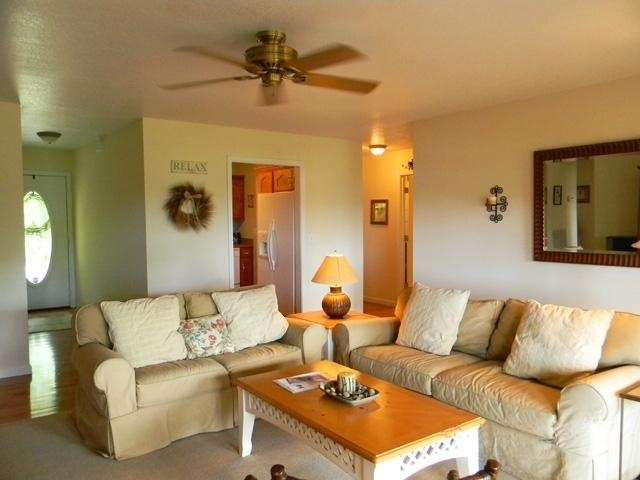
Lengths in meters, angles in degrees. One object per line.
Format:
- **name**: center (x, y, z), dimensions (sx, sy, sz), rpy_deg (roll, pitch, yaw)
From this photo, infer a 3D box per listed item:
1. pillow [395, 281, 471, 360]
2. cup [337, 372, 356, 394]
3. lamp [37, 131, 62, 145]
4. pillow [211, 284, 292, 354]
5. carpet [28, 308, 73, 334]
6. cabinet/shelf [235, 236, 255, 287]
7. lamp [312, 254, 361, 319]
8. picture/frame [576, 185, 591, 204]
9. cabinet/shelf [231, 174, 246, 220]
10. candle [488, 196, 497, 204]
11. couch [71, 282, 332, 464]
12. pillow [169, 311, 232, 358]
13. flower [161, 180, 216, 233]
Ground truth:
- **pillow**: center (1.030, 0.707, 4.244), dimensions (0.184, 0.573, 0.598), rpy_deg (25, -8, -34)
- **cup**: center (0.184, 0.989, 3.299), dimensions (0.127, 0.130, 0.122), rpy_deg (2, 0, 0)
- **lamp**: center (-3.838, -1.471, 6.754), dimensions (0.210, 0.081, 0.208), rpy_deg (0, -4, -17)
- **pillow**: center (-0.656, 0.718, 4.482), dimensions (0.611, 0.563, 0.183), rpy_deg (-12, -20, -38)
- **carpet**: center (-4.293, 1.282, 7.606), dimensions (0.648, 0.110, 1.374), rpy_deg (-3, 3, -30)
- **cabinet/shelf**: center (-1.309, 0.375, 8.377), dimensions (0.333, 0.802, 0.583), rpy_deg (-2, 4, -10)
- **lamp**: center (0.175, 0.475, 5.063), dimensions (0.494, 0.726, 0.510), rpy_deg (-1, 3, 25)
- **picture/frame**: center (2.550, -0.444, 4.605), dimensions (0.020, 0.166, 0.179), rpy_deg (-2, 3, -35)
- **cabinet/shelf**: center (-1.554, -0.757, 8.561), dimensions (0.226, 0.823, 0.397), rpy_deg (8, 11, 35)
- **candle**: center (1.873, -0.435, 5.186), dimensions (0.081, 0.078, 0.075), rpy_deg (0, 4, -27)
- **couch**: center (-1.054, 1.072, 4.404), dimensions (2.078, 1.100, 1.052), rpy_deg (-2, 2, -43)
- **pillow**: center (-1.038, 0.884, 4.298), dimensions (0.474, 0.146, 0.515), rpy_deg (-7, 42, -32)
- **flower**: center (-1.634, -0.508, 6.071), dimensions (0.646, 0.271, 0.692), rpy_deg (0, -14, 26)
